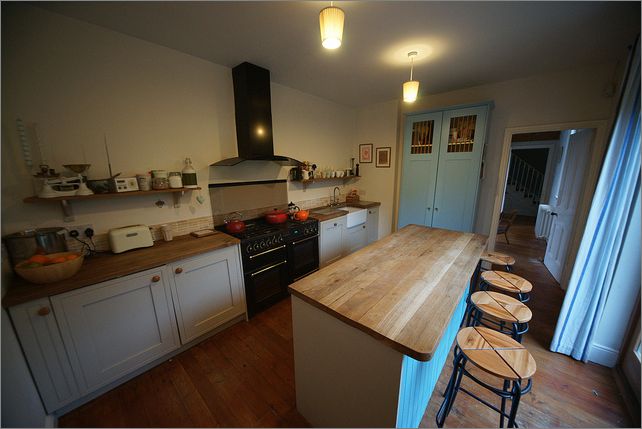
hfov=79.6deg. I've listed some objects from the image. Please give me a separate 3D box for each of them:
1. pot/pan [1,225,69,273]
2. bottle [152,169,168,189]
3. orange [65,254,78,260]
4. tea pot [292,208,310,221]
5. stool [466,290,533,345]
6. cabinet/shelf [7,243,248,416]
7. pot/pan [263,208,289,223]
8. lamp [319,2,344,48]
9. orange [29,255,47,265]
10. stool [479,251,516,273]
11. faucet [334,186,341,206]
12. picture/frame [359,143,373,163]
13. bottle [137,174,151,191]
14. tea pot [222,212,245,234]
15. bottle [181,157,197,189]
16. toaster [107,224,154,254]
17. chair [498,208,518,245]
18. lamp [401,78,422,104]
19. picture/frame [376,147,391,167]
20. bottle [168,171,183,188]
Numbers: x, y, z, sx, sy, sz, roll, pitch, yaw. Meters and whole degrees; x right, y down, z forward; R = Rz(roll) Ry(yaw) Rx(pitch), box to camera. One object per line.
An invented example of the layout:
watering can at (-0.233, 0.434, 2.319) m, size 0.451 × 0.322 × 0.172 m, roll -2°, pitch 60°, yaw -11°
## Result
pot/pan at (-2.976, 0.313, 3.959) m, size 0.452 × 0.388 × 0.418 m, roll -3°, pitch 9°, yaw -27°
bottle at (-1.892, -0.399, 4.487) m, size 0.201 × 0.217 × 0.202 m, roll 2°, pitch 8°, yaw 8°
orange at (-2.593, 0.448, 3.978) m, size 0.063 × 0.077 × 0.063 m, roll -4°, pitch 26°, yaw 2°
tea pot at (-0.287, 0.021, 5.460) m, size 0.210 × 0.140 × 0.133 m, roll 0°, pitch 4°, yaw -9°
stool at (1.910, 1.122, 4.114) m, size 0.525 × 0.854 × 0.530 m, roll 6°, pitch 24°, yaw 21°
cabinet/shelf at (-2.149, 1.253, 4.080) m, size 0.502 × 0.909 × 1.584 m, roll 12°, pitch 21°, yaw 40°
pot/pan at (-0.608, -0.020, 5.261) m, size 0.264 × 0.115 × 0.187 m, roll 10°, pitch 17°, yaw 41°
lamp at (0.111, -1.889, 3.880) m, size 0.226 × 0.378 × 0.159 m, roll 0°, pitch 11°, yaw 3°
orange at (-2.866, 0.464, 3.870) m, size 0.093 × 0.094 × 0.124 m, roll -3°, pitch -14°, yaw 11°
stool at (2.354, 0.656, 5.136) m, size 0.329 × 0.387 × 0.325 m, roll -3°, pitch 20°, yaw 12°
faucet at (0.273, -0.324, 6.706) m, size 0.094 × 0.297 × 0.251 m, roll 1°, pitch 11°, yaw 9°
picture/frame at (0.809, -1.096, 6.836) m, size 0.020 × 0.378 × 0.306 m, roll -17°, pitch 22°, yaw -42°
bottle at (-2.048, -0.367, 4.438) m, size 0.160 × 0.182 × 0.119 m, roll -7°, pitch 12°, yaw -29°
tea pot at (-1.122, 0.104, 5.033) m, size 0.225 × 0.294 × 0.326 m, roll 19°, pitch 25°, yaw 40°
bottle at (-1.639, -0.505, 4.710) m, size 0.164 × 0.353 × 0.264 m, roll -5°, pitch 12°, yaw -20°
toaster at (-2.165, 0.273, 4.382) m, size 0.518 × 0.382 × 0.282 m, roll -10°, pitch 16°, yaw -42°
chair at (3.672, 0.177, 7.527) m, size 0.284 × 0.624 × 1.520 m, roll 5°, pitch 11°, yaw 27°
lamp at (1.145, -1.539, 4.768) m, size 0.143 × 0.235 × 0.226 m, roll 8°, pitch 14°, yaw 39°
picture/frame at (1.080, -0.990, 6.596) m, size 0.024 × 0.367 × 0.307 m, roll -20°, pitch 26°, yaw -41°
bottle at (-1.767, -0.410, 4.633) m, size 0.160 × 0.189 × 0.201 m, roll -5°, pitch 11°, yaw -19°
